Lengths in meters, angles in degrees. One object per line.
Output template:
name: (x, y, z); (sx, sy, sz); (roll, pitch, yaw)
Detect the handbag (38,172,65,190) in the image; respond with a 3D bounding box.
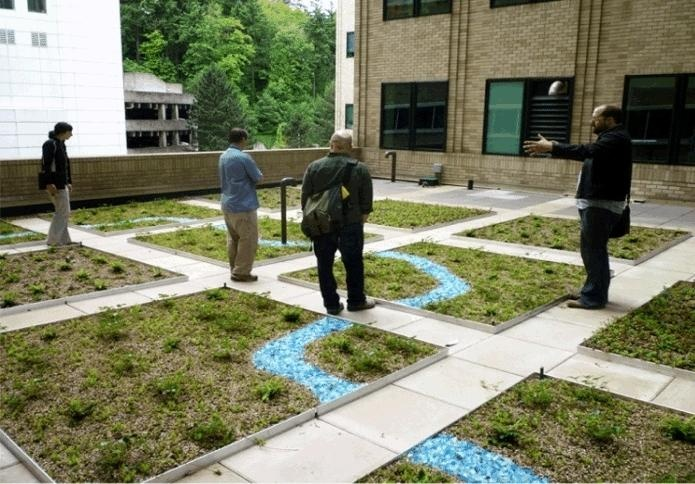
handbag: (-5.678, -1.166, 9.733); (0.324, 0.276, 0.429); (-2, 5, -29)

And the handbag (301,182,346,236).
handbag: (-0.323, -0.406, 6.962); (0.663, 0.659, 0.420); (-11, 1, 45)

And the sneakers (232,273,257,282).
sneakers: (-1.705, 0.586, 8.365); (0.380, 0.162, 0.147); (-1, 10, -11)

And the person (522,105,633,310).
person: (3.474, -0.468, 7.254); (0.802, 2.857, 1.400); (13, 21, 41)

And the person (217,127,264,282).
person: (-1.742, -0.615, 8.379); (0.660, 2.447, 0.928); (-5, 16, -13)
